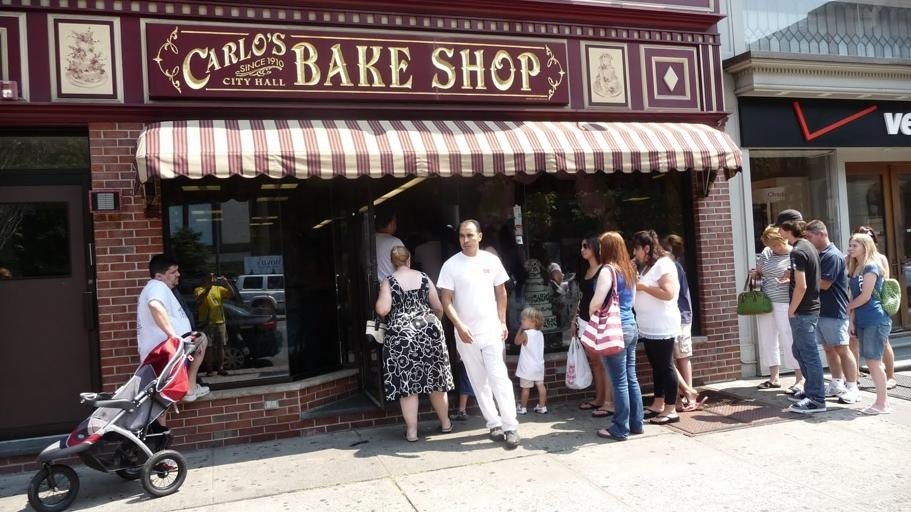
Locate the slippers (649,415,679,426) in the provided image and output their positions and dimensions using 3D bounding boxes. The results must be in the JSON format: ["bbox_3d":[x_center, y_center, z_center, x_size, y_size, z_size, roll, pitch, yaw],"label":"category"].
[{"bbox_3d":[3.194,2.505,12.511,0.358,0.099,0.191,1,-3,-10],"label":"slippers"}]

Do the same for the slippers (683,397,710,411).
[{"bbox_3d":[3.878,2.366,13.172,0.261,0.212,0.722,-3,1,30],"label":"slippers"}]

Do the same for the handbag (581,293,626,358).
[{"bbox_3d":[2.120,1.021,11.881,0.581,0.846,0.266,-3,0,3],"label":"handbag"}]

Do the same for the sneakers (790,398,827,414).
[{"bbox_3d":[5.459,2.333,12.731,0.619,0.242,0.221,2,-5,0],"label":"sneakers"}]

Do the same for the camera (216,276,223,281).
[{"bbox_3d":[-3.685,0.354,12.766,0.097,0.064,0.062,1,7,-5],"label":"camera"}]

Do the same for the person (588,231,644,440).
[{"bbox_3d":[2.343,1.222,12.359,1.005,3.004,1.207,0,-1,26],"label":"person"}]

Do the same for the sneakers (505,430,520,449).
[{"bbox_3d":[0.821,2.698,11.961,0.195,0.184,0.473,-2,-11,-1],"label":"sneakers"}]

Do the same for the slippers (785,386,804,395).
[{"bbox_3d":[5.547,2.201,13.363,0.348,0.098,0.124,7,-11,-38],"label":"slippers"}]

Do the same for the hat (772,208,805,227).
[{"bbox_3d":[5.287,-0.627,13.089,0.564,0.276,0.406,-1,4,21],"label":"hat"}]

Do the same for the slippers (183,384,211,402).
[{"bbox_3d":[-3.910,2.062,12.259,0.170,0.170,0.423,4,11,33],"label":"slippers"}]

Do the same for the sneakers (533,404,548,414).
[{"bbox_3d":[1.371,2.472,13.198,0.102,0.111,0.267,-1,0,-24],"label":"sneakers"}]

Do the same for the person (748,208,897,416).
[{"bbox_3d":[6.004,0.827,12.814,1.570,3.100,0.954,-3,0,8],"label":"person"}]

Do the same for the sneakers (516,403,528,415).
[{"bbox_3d":[1.063,2.475,13.146,0.091,0.097,0.234,-1,2,-14],"label":"sneakers"}]

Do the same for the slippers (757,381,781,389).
[{"bbox_3d":[5.301,2.180,13.792,0.369,0.094,0.143,1,-5,-3],"label":"slippers"}]

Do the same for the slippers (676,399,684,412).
[{"bbox_3d":[3.565,2.390,12.999,0.142,0.168,0.179,-1,-17,3],"label":"slippers"}]

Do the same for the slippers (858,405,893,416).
[{"bbox_3d":[6.434,2.358,12.524,0.410,0.116,0.167,1,-5,1],"label":"slippers"}]

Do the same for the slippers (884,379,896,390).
[{"bbox_3d":[7.187,2.114,13.468,0.171,0.179,0.457,-4,-11,24],"label":"slippers"}]

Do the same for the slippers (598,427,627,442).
[{"bbox_3d":[2.311,2.665,12.115,0.349,0.100,0.185,3,-1,44],"label":"slippers"}]
